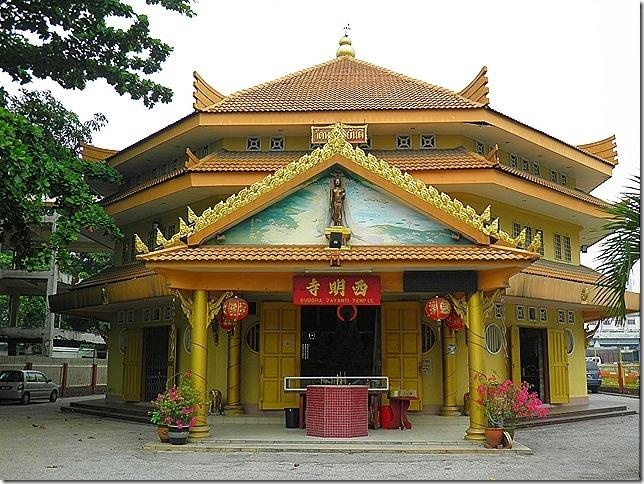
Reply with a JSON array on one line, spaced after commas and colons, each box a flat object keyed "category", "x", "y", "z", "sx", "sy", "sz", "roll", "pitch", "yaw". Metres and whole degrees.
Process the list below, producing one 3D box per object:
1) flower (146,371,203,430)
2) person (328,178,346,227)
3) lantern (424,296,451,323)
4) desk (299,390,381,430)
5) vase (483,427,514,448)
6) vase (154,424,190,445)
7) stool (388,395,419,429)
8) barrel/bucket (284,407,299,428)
[{"category": "flower", "x": -3.945, "y": 4.236, "z": 16.359, "sx": 1.122, "sy": 1.331, "sz": 0.516, "roll": 1, "pitch": -16, "yaw": -4}, {"category": "person", "x": 0.436, "y": -1.140, "z": 17.012, "sx": 0.433, "sy": 1.489, "sz": 0.370, "roll": -1, "pitch": -16, "yaw": 1}, {"category": "lantern", "x": 3.267, "y": 1.833, "z": 17.282, "sx": 0.890, "sy": 0.765, "sz": 0.624, "roll": 4, "pitch": -2, "yaw": 12}, {"category": "desk", "x": 0.625, "y": 4.806, "z": 17.332, "sx": 1.856, "sy": 1.158, "sz": 1.880, "roll": 13, "pitch": -22, "yaw": -34}, {"category": "vase", "x": 4.635, "y": 5.121, "z": 16.167, "sx": 0.655, "sy": 0.371, "sz": 0.575, "roll": 3, "pitch": -2, "yaw": 0}, {"category": "vase", "x": -4.013, "y": 5.104, "z": 16.276, "sx": 0.888, "sy": 0.476, "sz": 0.412, "roll": -3, "pitch": -15, "yaw": 13}, {"category": "stool", "x": 2.356, "y": 5.128, "z": 18.455, "sx": 0.641, "sy": 0.970, "sz": 0.571, "roll": -2, "pitch": -15, "yaw": 5}, {"category": "barrel/bucket", "x": -0.927, "y": 5.376, "z": 18.759, "sx": 0.625, "sy": 0.499, "sz": 0.546, "roll": 3, "pitch": -12, "yaw": -11}]
